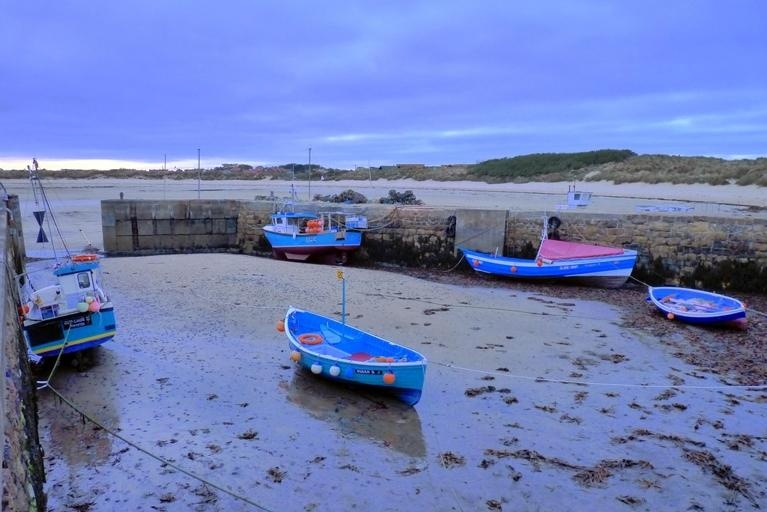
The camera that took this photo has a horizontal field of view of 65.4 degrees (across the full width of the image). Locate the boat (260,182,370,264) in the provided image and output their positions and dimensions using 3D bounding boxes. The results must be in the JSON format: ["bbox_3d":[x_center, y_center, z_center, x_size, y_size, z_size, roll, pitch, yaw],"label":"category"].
[{"bbox_3d":[-3.276,-1.131,26.200,5.734,2.698,2.189,3,-2,36],"label":"boat"}]

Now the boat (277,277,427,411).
[{"bbox_3d":[-0.605,2.425,14.003,1.954,2.190,4.700,-8,20,-40],"label":"boat"}]

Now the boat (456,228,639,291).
[{"bbox_3d":[6.005,0.302,22.080,6.242,2.249,2.056,4,10,29],"label":"boat"}]
